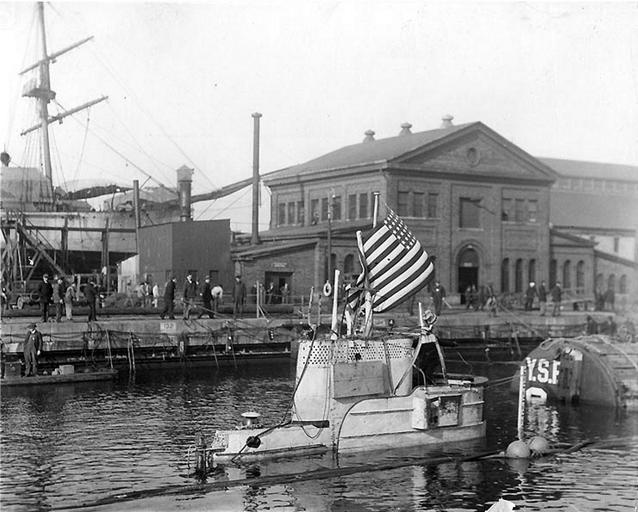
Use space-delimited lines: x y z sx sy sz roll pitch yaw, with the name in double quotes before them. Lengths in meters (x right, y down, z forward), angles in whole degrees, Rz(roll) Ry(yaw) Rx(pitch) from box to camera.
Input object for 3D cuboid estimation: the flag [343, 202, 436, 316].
"flag" 1.941 0.469 44.213 2.367 2.878 3.603 -7 -12 -46
